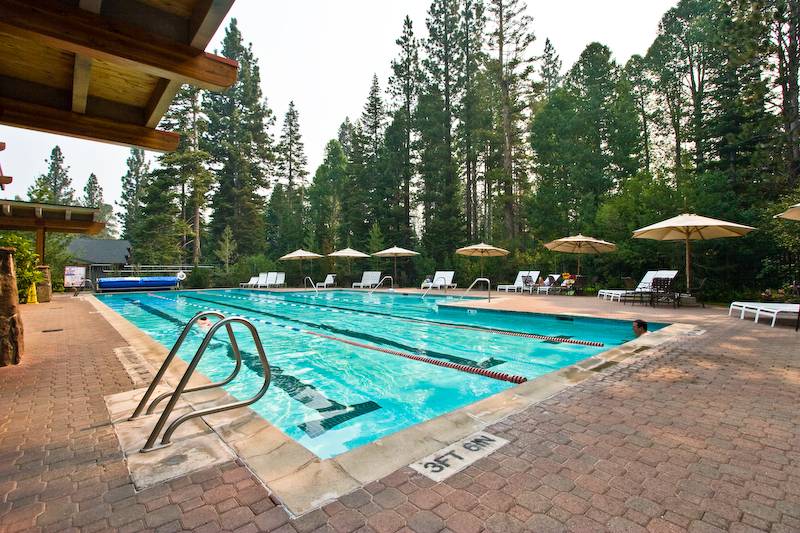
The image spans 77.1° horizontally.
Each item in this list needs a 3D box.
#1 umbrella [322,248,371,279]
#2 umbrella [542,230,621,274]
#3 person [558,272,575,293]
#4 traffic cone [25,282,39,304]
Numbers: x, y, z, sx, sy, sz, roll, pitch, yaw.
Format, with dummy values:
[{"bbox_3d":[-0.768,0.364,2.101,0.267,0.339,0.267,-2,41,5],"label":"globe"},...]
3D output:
[{"bbox_3d":[-3.268,-0.196,29.814,1.765,1.306,1.857,0,0,6],"label":"umbrella"},{"bbox_3d":[7.858,-0.617,21.790,2.545,1.621,3.231,1,1,22],"label":"umbrella"},{"bbox_3d":[7.445,0.675,22.477,0.726,1.073,1.034,-2,-5,29],"label":"person"},{"bbox_3d":[-13.559,0.902,18.598,0.352,0.766,0.850,-1,2,-37],"label":"traffic cone"}]
